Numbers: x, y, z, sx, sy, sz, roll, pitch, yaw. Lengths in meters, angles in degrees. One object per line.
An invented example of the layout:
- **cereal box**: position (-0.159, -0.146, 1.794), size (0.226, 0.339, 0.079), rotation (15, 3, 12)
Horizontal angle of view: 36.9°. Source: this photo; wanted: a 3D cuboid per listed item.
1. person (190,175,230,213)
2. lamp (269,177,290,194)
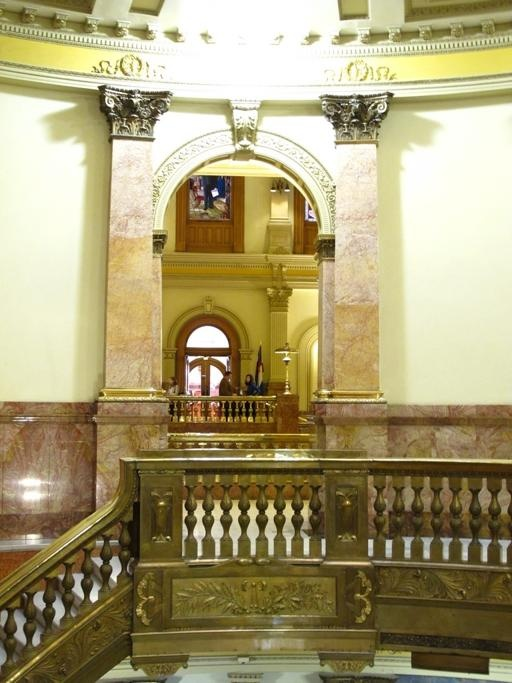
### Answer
- **person**: position (-1.040, -3.332, 17.724), size (1.006, 0.952, 0.412), rotation (-5, 7, -9)
- **lamp**: position (0.554, -3.582, 17.741), size (0.440, 0.423, 0.305), rotation (2, 9, 8)
